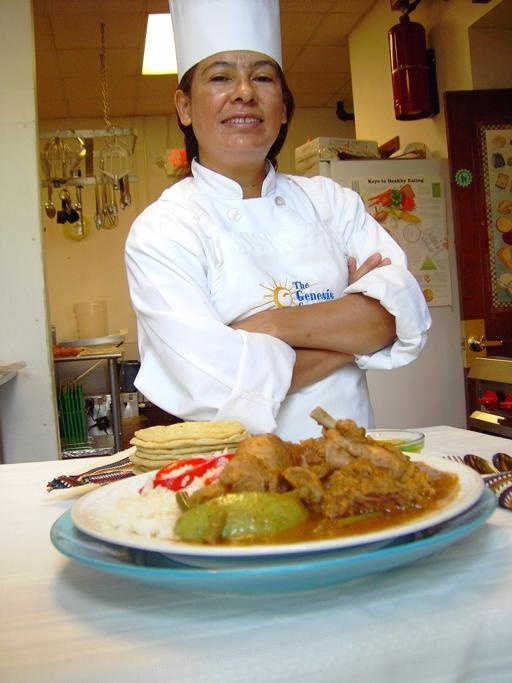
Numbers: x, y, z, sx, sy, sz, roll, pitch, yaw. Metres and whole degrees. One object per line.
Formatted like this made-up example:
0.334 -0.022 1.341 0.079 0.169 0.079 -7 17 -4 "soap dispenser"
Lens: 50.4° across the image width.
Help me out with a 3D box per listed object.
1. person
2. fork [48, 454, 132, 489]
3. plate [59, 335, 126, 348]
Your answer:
0.043 -0.219 1.219 0.643 0.800 0.436 -4 -1 -28 "person"
-0.243 0.199 0.806 0.110 0.020 0.071 -2 12 -35 "fork"
-1.455 0.003 4.820 0.577 0.088 0.294 -3 -1 -29 "plate"
